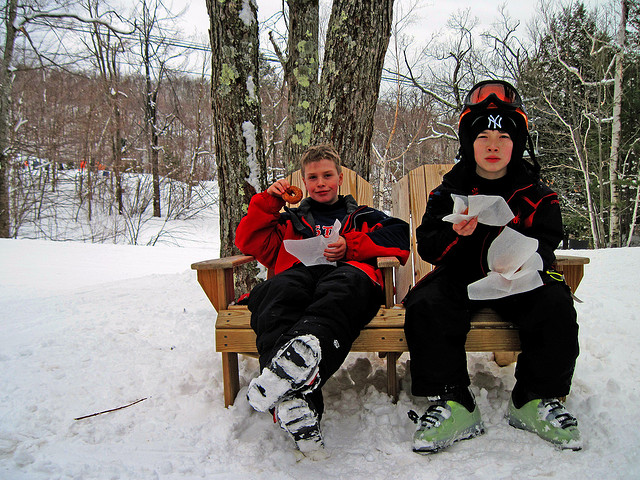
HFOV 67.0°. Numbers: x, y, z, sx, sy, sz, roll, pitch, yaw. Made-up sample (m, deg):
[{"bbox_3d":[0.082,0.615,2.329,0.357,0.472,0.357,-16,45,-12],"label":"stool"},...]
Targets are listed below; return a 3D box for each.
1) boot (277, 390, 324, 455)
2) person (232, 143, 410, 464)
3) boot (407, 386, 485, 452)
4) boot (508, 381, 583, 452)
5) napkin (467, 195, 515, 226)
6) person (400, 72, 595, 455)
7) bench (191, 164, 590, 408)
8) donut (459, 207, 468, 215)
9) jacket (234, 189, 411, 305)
[{"bbox_3d":[-0.114,1.065,2.751,0.237,0.380,0.127,-24,13,-3],"label":"boot"},{"bbox_3d":[-0.110,0.289,3.407,1.003,1.986,1.391,6,7,40],"label":"person"},{"bbox_3d":[0.805,1.138,3.065,0.566,0.248,0.202,-3,-5,-28],"label":"boot"},{"bbox_3d":[1.382,1.063,3.044,0.215,0.232,0.498,-29,28,-37],"label":"boot"},{"bbox_3d":[1.026,-0.179,2.953,0.201,0.106,0.206,5,-15,-13],"label":"napkin"},{"bbox_3d":[1.148,0.085,3.163,1.212,2.333,0.735,1,6,6],"label":"person"},{"bbox_3d":[0.325,0.376,4.271,2.196,2.293,3.094,5,6,4],"label":"bench"},{"bbox_3d":[0.919,-0.191,3.076,0.046,0.047,0.037,-6,-1,32],"label":"donut"},{"bbox_3d":[0.113,-0.083,3.881,0.952,1.008,0.947,5,7,13],"label":"jacket"}]
